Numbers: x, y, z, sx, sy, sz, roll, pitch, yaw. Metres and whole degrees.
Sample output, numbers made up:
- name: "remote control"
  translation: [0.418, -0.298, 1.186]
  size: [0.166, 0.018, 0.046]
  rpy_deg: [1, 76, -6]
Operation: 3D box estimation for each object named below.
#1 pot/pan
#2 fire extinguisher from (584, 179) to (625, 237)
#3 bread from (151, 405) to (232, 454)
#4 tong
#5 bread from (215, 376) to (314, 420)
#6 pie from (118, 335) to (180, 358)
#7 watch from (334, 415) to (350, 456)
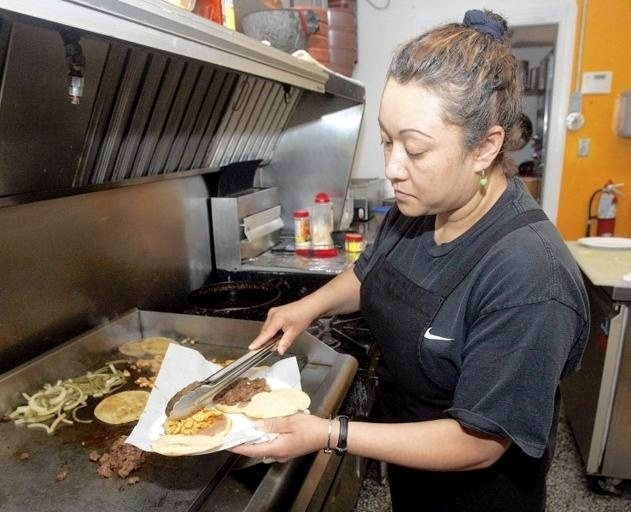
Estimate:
- name: "pot/pan"
  translation: [-0.375, 0.204, 2.146]
  size: [0.253, 0.091, 0.285]
  rpy_deg: [7, 13, 20]
- name: "fire extinguisher"
  translation: [2.715, -0.473, 4.324]
  size: [0.344, 0.664, 0.172]
  rpy_deg: [-1, 46, 20]
- name: "bread"
  translation: [-0.341, 0.483, 1.256]
  size: [0.139, 0.080, 0.174]
  rpy_deg: [14, 16, 42]
- name: "tong"
  translation: [-0.228, 0.368, 1.371]
  size: [0.440, 0.121, 0.110]
  rpy_deg: [-31, 66, -27]
- name: "bread"
  translation: [-0.144, 0.434, 1.422]
  size: [0.246, 0.081, 0.204]
  rpy_deg: [8, 10, 24]
- name: "pie"
  translation: [-0.668, 0.363, 1.814]
  size: [0.164, 0.034, 0.132]
  rpy_deg: [8, 13, 40]
- name: "watch"
  translation: [0.067, 0.442, 1.122]
  size: [0.051, 0.074, 0.082]
  rpy_deg: [1, 0, -2]
